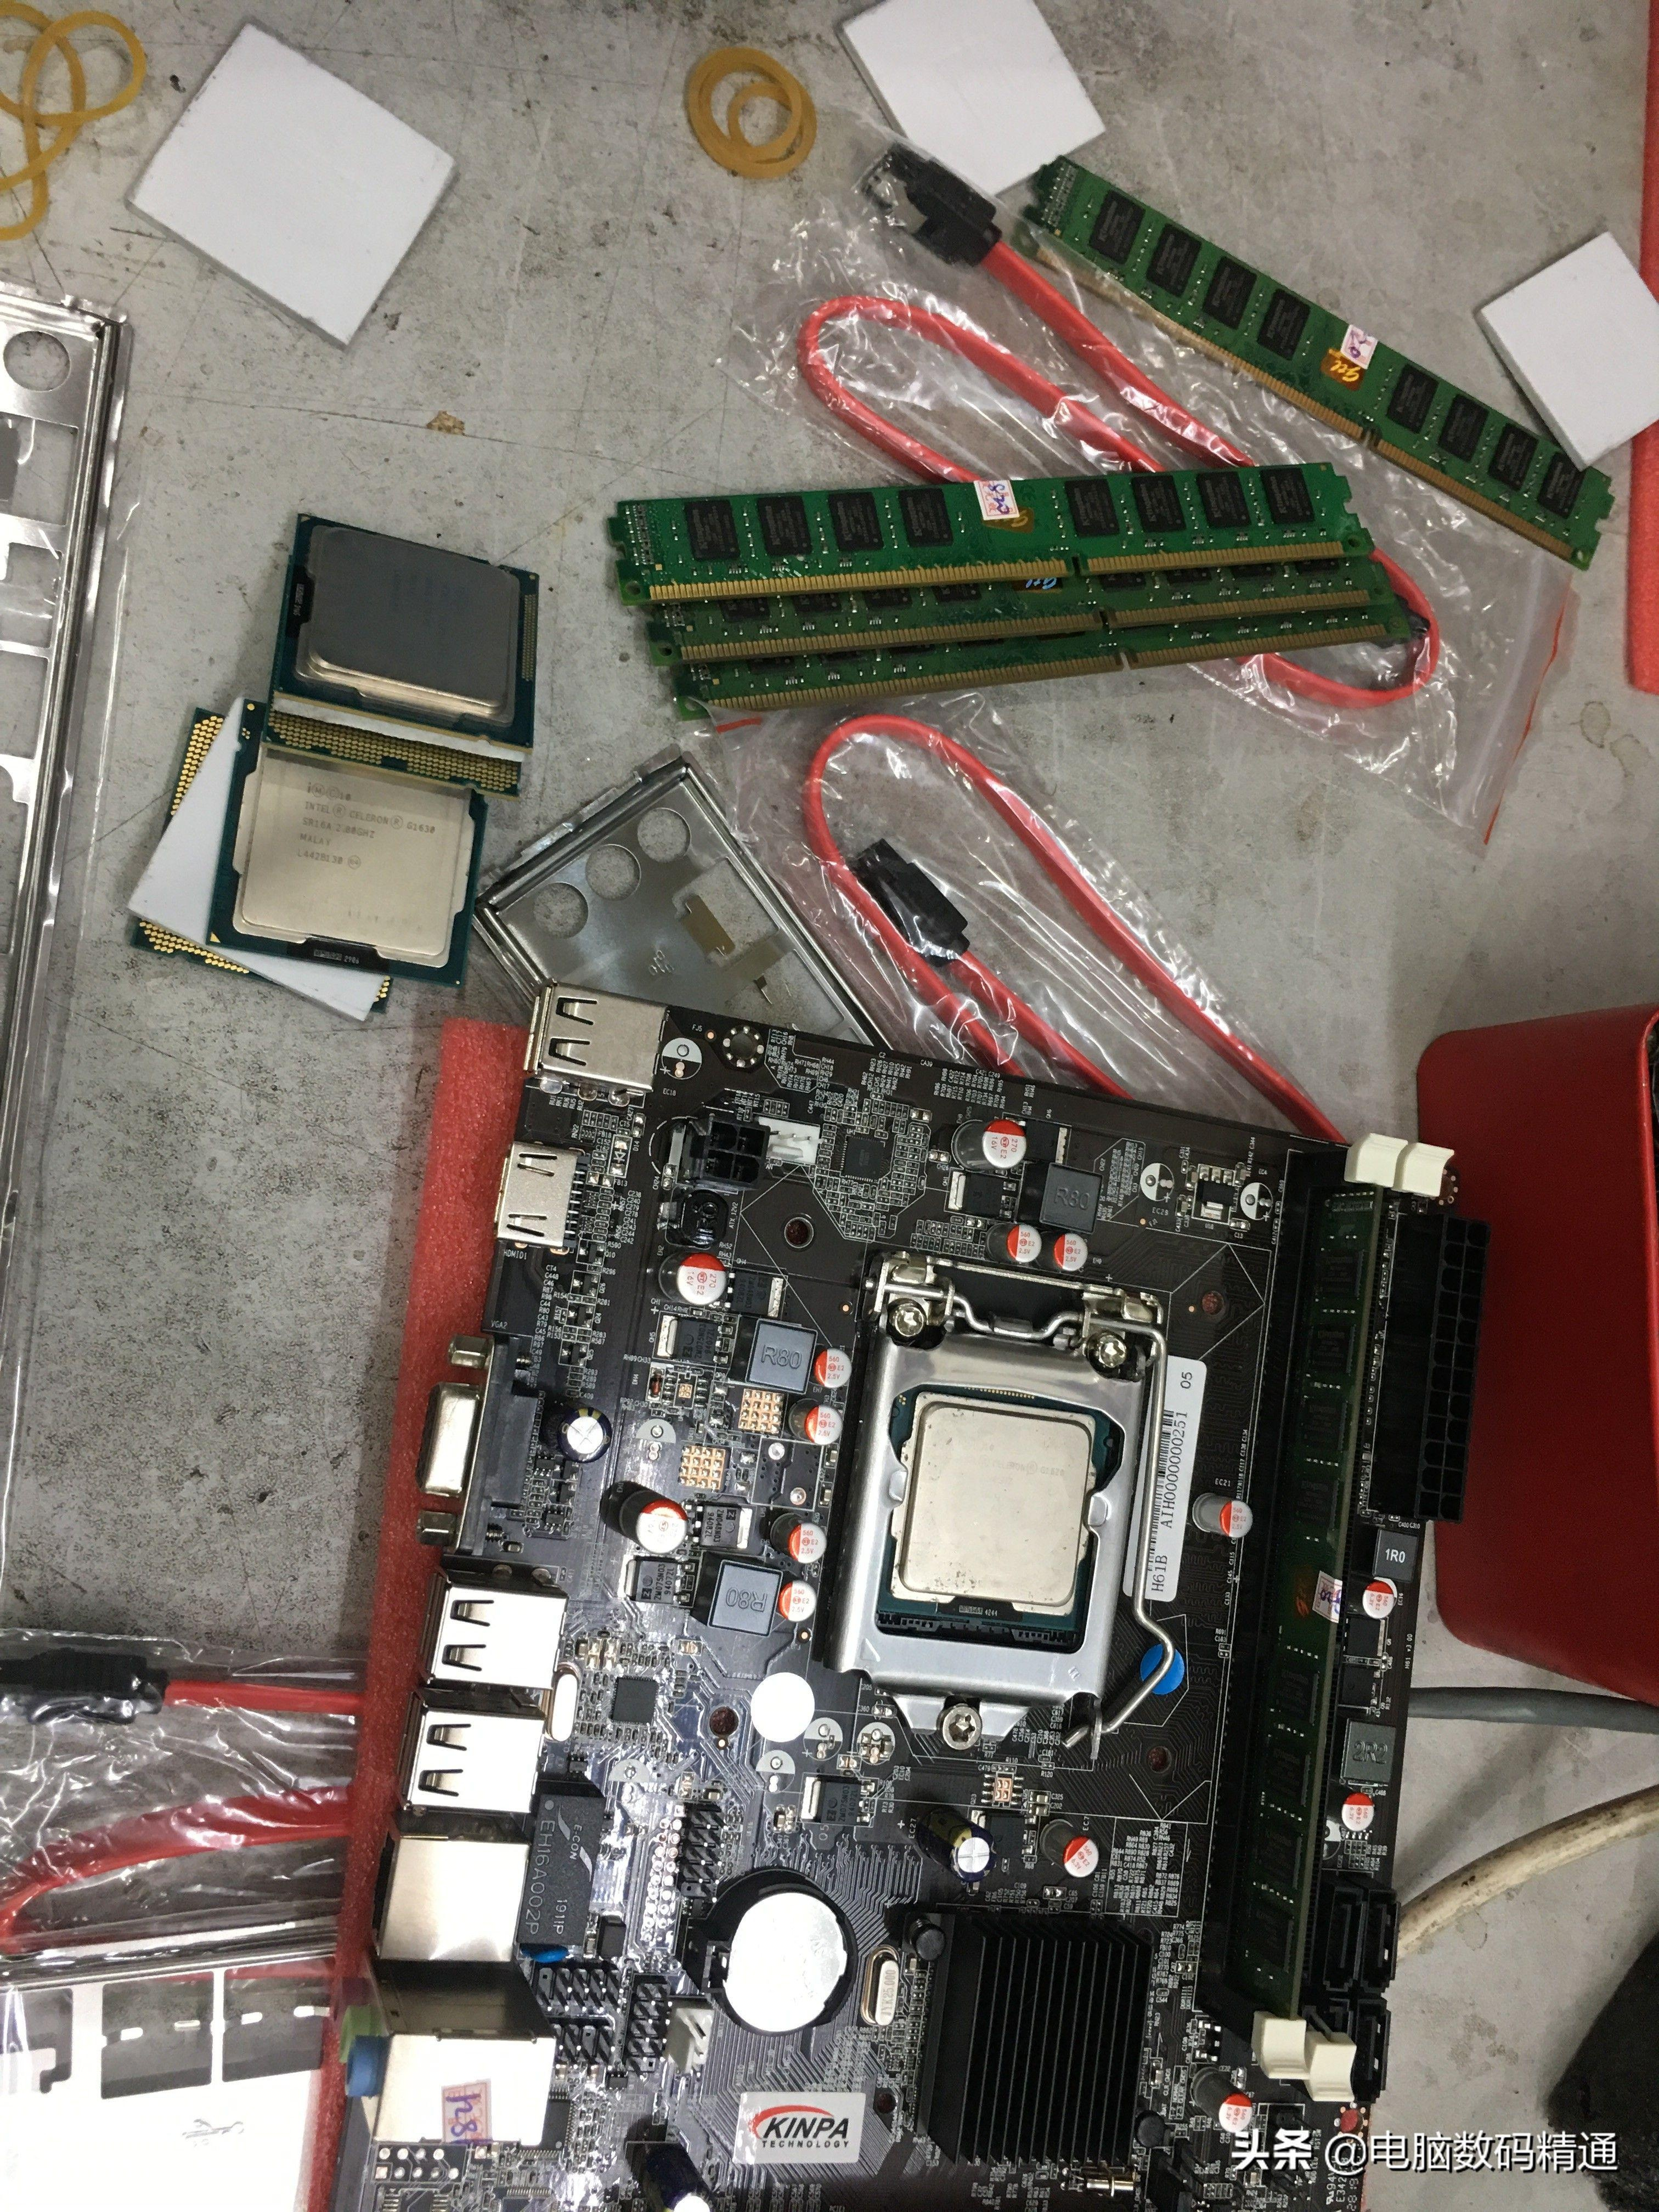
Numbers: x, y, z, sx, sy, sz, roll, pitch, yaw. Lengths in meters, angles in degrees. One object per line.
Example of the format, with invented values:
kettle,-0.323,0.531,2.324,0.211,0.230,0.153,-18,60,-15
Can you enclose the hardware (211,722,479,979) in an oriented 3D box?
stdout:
hardware,-1.297,-0.699,5.444,0.711,0.574,0.168,13,-7,-19

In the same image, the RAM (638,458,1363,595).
RAM,0.718,-1.773,6.137,2.594,0.411,0.089,-3,-32,-5
